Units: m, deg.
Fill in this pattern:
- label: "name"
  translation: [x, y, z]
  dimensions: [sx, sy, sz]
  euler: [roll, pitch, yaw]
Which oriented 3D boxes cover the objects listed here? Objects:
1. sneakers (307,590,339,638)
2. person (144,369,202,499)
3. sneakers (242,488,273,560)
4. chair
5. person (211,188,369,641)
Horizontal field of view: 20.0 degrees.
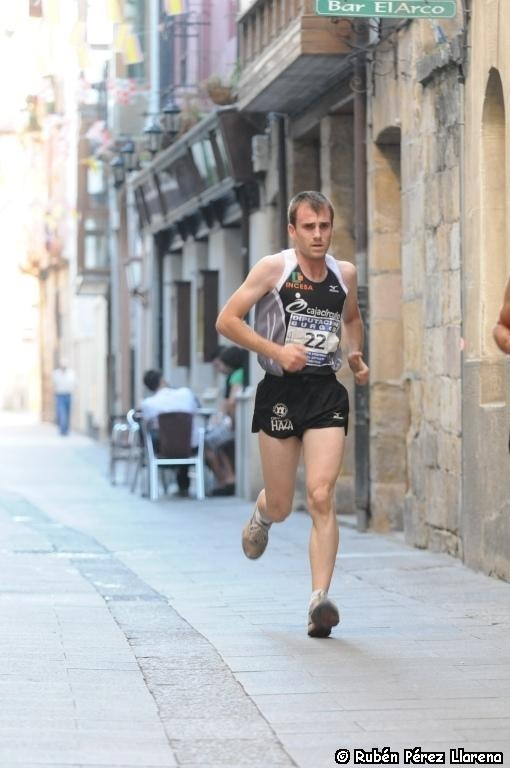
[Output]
- label: "sneakers"
  translation: [0.247, 0.864, 5.437]
  dimensions: [0.076, 0.102, 0.212]
  euler: [4, -38, -8]
- label: "person"
  translation: [-0.853, 0.487, 14.245]
  dimensions: [0.559, 0.966, 0.727]
  euler: [1, 0, -3]
- label: "sneakers"
  translation: [0.003, 0.609, 6.220]
  dimensions: [0.105, 0.324, 0.142]
  euler: [6, -6, 6]
- label: "chair"
  translation: [-1.002, 0.635, 14.213]
  dimensions: [0.935, 0.477, 0.964]
  euler: [-1, 2, 4]
- label: "person"
  translation: [0.160, 0.090, 5.805]
  dimensions: [0.585, 1.248, 0.834]
  euler: [1, 0, 13]
